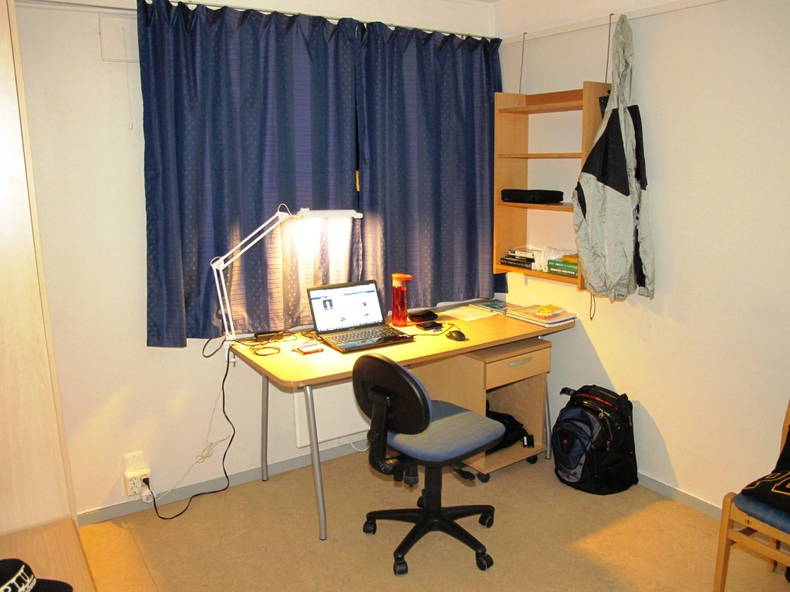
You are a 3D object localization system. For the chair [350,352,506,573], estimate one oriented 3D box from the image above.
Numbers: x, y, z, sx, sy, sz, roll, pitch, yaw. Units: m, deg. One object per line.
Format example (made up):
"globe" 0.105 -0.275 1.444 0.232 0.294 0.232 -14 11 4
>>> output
"chair" 0.197 0.799 3.268 0.706 1.096 0.702 -12 16 -37

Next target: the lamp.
"lamp" -0.636 -0.151 3.758 0.872 0.849 0.191 -6 -23 3

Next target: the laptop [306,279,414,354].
"laptop" -0.212 -0.004 3.605 0.458 0.309 0.426 -10 18 -35

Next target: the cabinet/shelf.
"cabinet/shelf" 0.930 -0.670 3.960 0.354 1.191 0.784 -9 13 -31

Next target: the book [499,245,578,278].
"book" 0.923 -0.227 3.989 0.125 0.151 0.601 -11 15 -37

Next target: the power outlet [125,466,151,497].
"power outlet" -1.449 1.035 3.557 0.156 0.200 0.098 1 3 -38
